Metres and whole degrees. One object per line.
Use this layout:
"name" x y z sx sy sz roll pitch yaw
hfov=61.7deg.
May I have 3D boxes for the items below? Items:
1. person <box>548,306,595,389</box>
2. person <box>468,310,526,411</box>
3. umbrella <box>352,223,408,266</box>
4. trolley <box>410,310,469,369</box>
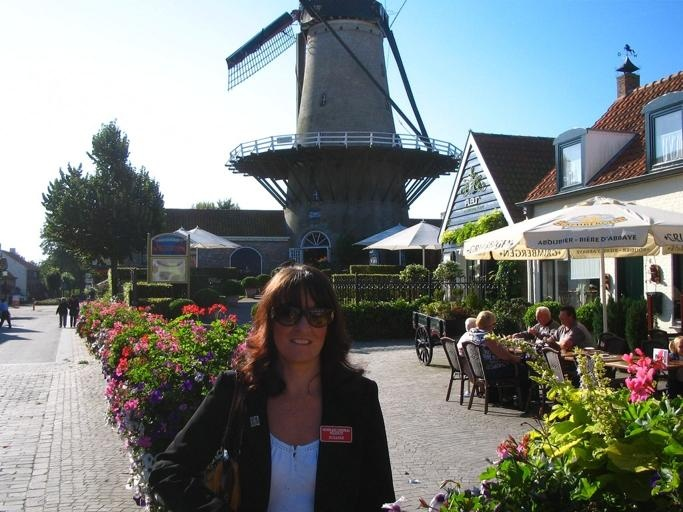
"person" 3.721 1.556 9.466 0.674 1.392 0.649 -2 9 1
"person" 2.495 1.655 9.239 0.805 1.637 0.705 -3 4 -19
"umbrella" 2.324 -0.170 33.590 2.571 2.203 2.661 -4 5 -29
"trolley" 1.986 2.054 13.964 1.032 0.792 1.029 15 -22 0
